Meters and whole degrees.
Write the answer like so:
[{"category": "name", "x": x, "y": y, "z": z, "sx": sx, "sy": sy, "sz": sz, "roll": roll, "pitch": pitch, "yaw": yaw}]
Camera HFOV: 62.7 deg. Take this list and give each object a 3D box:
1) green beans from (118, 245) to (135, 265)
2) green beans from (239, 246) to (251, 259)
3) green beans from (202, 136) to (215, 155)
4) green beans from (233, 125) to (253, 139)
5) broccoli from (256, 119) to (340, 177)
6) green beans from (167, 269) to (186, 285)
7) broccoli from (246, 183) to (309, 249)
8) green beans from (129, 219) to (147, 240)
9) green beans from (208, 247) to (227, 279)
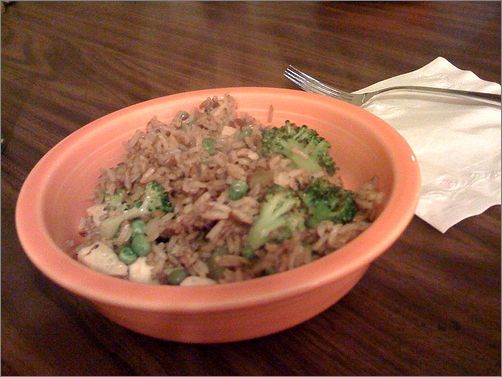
[{"category": "green beans", "x": -0.436, "y": 0.234, "z": 1.438, "sx": 0.061, "sy": 0.032, "sz": 0.060, "roll": -3, "pitch": 38, "yaw": -24}, {"category": "green beans", "x": -0.025, "y": 0.217, "z": 1.390, "sx": 0.041, "sy": 0.006, "sz": 0.031, "roll": 27, "pitch": 77, "yaw": 9}, {"category": "green beans", "x": -0.166, "y": -0.166, "z": 1.603, "sx": 0.072, "sy": 0.021, "sz": 0.049, "roll": -9, "pitch": 82, "yaw": 6}, {"category": "green beans", "x": -0.032, "y": -0.220, "z": 1.638, "sx": 0.067, "sy": 0.017, "sz": 0.044, "roll": -30, "pitch": 41, "yaw": -24}, {"category": "broccoli", "x": 0.187, "y": -0.153, "z": 1.605, "sx": 0.280, "sy": 0.087, "sz": 0.173, "roll": 13, "pitch": 41, "yaw": -30}, {"category": "green beans", "x": -0.246, "y": 0.295, "z": 1.357, "sx": 0.070, "sy": 0.043, "sz": 0.039, "roll": -15, "pitch": 58, "yaw": 1}, {"category": "broccoli", "x": 0.082, "y": 0.096, "z": 1.453, "sx": 0.187, "sy": 0.065, "sz": 0.243, "roll": 45, "pitch": 84, "yaw": -5}, {"category": "green beans", "x": -0.404, "y": 0.146, "z": 1.470, "sx": 0.065, "sy": 0.038, "sz": 0.062, "roll": -27, "pitch": 81, "yaw": -7}, {"category": "green beans", "x": -0.131, "y": 0.244, "z": 1.364, "sx": 0.060, "sy": 0.073, "sz": 0.082, "roll": 20, "pitch": 48, "yaw": -32}]
